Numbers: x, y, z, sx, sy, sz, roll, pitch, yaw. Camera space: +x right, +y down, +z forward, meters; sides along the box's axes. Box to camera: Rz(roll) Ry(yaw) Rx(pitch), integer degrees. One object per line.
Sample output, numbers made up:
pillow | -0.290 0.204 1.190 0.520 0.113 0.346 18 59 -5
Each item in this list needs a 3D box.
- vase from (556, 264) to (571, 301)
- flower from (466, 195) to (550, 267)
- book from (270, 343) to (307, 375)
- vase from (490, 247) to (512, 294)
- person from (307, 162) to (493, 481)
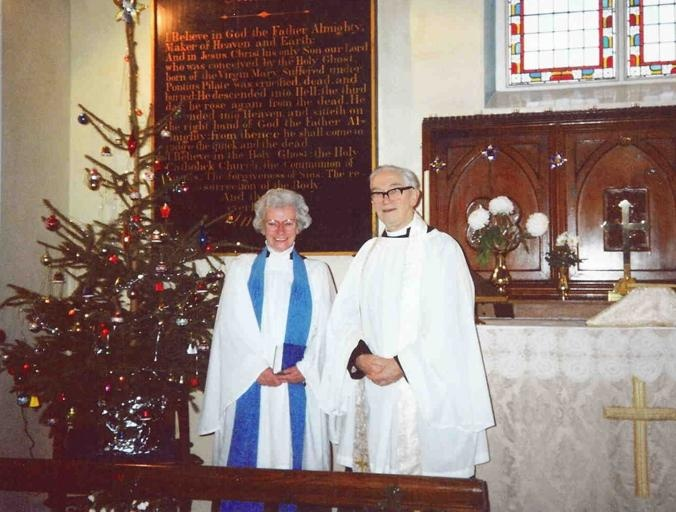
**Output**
vase | 1.683 0.207 7.310 0.072 0.252 0.189 -2 -4 12
flower | 1.426 -0.213 7.338 0.572 0.387 0.522 -5 10 -42
book | -0.349 0.711 6.757 0.196 0.199 0.047 6 -10 -4
vase | 1.204 0.112 7.274 0.134 0.338 0.138 4 17 26
person | 0.455 0.417 6.539 1.085 2.065 0.403 -3 -4 29
